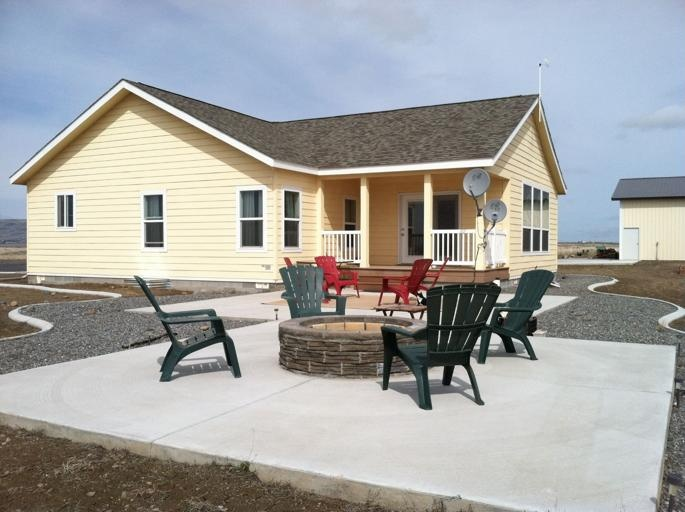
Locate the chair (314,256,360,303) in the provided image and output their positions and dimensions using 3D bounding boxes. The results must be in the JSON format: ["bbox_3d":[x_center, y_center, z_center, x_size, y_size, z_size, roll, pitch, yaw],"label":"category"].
[{"bbox_3d":[-0.188,0.571,13.587,1.217,1.011,1.080,4,5,33],"label":"chair"}]

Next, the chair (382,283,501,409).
[{"bbox_3d":[0.963,0.866,5.213,0.931,1.028,1.149,2,-7,-18],"label":"chair"}]

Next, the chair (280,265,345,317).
[{"bbox_3d":[-0.640,0.492,7.930,0.861,1.052,0.839,-3,2,-25],"label":"chair"}]

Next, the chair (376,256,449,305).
[{"bbox_3d":[1.307,0.560,11.339,1.571,0.989,0.931,2,2,-27],"label":"chair"}]

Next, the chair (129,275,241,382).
[{"bbox_3d":[-1.775,0.812,6.047,1.218,0.983,0.839,4,-1,-17],"label":"chair"}]

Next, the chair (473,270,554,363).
[{"bbox_3d":[2.097,0.733,6.943,1.079,1.162,0.953,5,2,2],"label":"chair"}]
